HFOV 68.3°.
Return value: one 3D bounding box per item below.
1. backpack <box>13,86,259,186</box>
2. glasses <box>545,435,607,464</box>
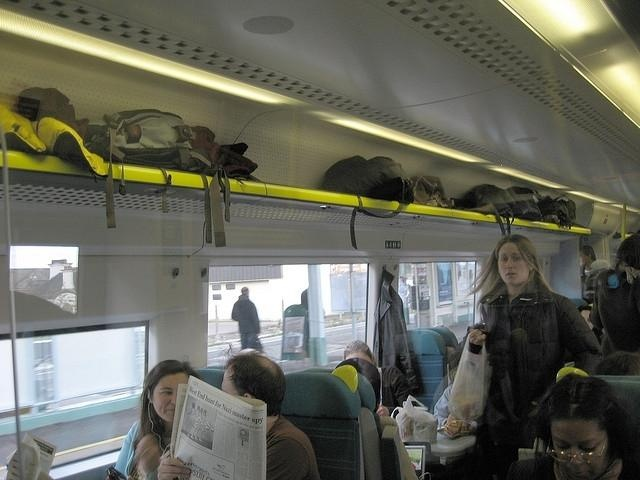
[{"bbox_3d":[-0.749,-0.308,1.701,0.507,0.143,0.356,9,0,-35],"label":"backpack"},{"bbox_3d":[0.810,0.653,1.466,0.142,0.068,0.023,-6,-7,30],"label":"glasses"}]
